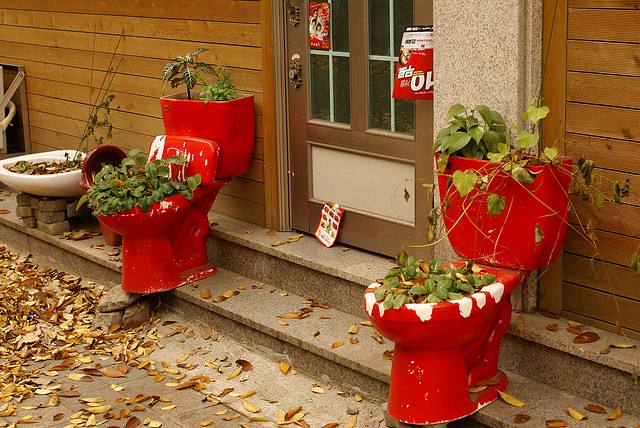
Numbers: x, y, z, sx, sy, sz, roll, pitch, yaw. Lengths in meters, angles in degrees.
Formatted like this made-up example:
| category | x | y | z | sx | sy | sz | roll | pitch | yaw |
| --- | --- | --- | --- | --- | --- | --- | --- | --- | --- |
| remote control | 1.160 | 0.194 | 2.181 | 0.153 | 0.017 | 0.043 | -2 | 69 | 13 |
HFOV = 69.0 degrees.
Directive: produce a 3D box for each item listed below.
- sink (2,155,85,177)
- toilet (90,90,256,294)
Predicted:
| category | x | y | z | sx | sy | sz | roll | pitch | yaw |
| --- | --- | --- | --- | --- | --- | --- | --- | --- | --- |
| sink | -2.676 | -0.482 | 4.563 | 0.832 | 0.152 | 0.516 | 12 | 19 | 30 |
| toilet | -1.063 | -0.167 | 3.543 | 0.633 | 1.416 | 1.050 | 12 | 20 | 29 |
